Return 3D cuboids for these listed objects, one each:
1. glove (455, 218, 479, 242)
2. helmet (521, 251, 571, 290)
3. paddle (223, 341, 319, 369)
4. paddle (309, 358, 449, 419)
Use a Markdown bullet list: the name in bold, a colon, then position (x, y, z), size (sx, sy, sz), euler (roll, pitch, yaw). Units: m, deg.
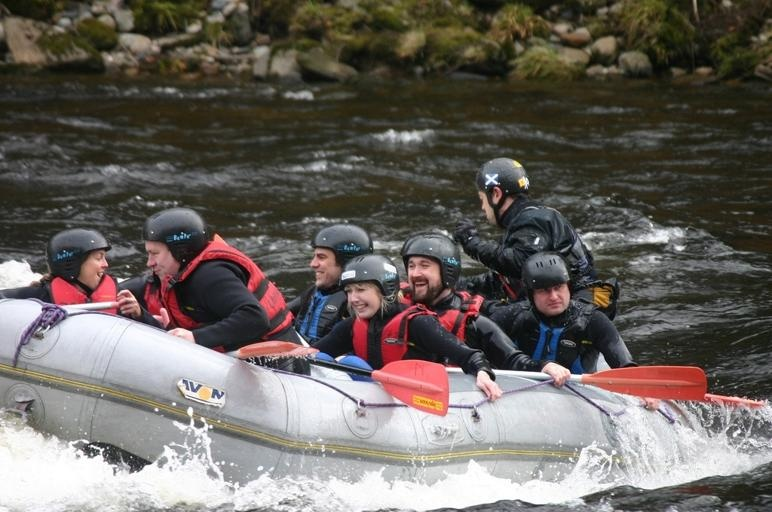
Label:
- **glove**: position (1.151, -0.375, 18.143), size (0.370, 0.267, 0.158), euler (-17, -35, 29)
- **helmet**: position (2.203, 0.194, 17.150), size (0.516, 0.504, 0.560), euler (-10, -13, -5)
- **paddle**: position (-1.409, 1.238, 16.104), size (0.931, 0.212, 0.412), euler (-5, 6, 0)
- **paddle**: position (-0.052, 1.574, 16.338), size (1.775, 0.481, 0.116), euler (14, 1, 15)
